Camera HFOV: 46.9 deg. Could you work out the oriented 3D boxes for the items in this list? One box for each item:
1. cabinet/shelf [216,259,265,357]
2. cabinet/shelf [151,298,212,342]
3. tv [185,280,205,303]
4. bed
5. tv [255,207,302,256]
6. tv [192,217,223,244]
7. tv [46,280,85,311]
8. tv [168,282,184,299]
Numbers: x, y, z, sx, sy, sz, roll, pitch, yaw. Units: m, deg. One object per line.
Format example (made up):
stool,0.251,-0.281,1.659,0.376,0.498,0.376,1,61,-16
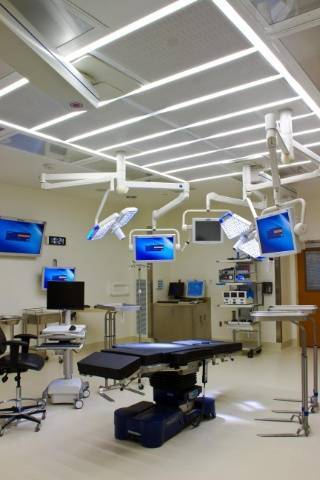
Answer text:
cabinet/shelf,1.564,1.250,6.975,0.857,1.789,0.834,0,-9,-6
cabinet/shelf,0.416,1.643,7.730,1.008,0.907,0.801,-5,-3,34
tv,0.803,1.149,8.185,0.420,0.423,0.158,-6,-25,28
bed,-0.004,1.263,3.103,0.646,0.751,1.526,-4,-8,37
tv,1.026,-0.049,3.235,0.111,0.400,0.413,1,-8,-29
tv,0.645,-0.123,4.952,0.343,0.296,0.037,-1,-7,-1
tv,-1.118,0.662,4.388,0.401,0.303,0.043,0,-7,-2
tv,0.393,1.169,8.441,0.348,0.384,0.138,-5,-24,29
